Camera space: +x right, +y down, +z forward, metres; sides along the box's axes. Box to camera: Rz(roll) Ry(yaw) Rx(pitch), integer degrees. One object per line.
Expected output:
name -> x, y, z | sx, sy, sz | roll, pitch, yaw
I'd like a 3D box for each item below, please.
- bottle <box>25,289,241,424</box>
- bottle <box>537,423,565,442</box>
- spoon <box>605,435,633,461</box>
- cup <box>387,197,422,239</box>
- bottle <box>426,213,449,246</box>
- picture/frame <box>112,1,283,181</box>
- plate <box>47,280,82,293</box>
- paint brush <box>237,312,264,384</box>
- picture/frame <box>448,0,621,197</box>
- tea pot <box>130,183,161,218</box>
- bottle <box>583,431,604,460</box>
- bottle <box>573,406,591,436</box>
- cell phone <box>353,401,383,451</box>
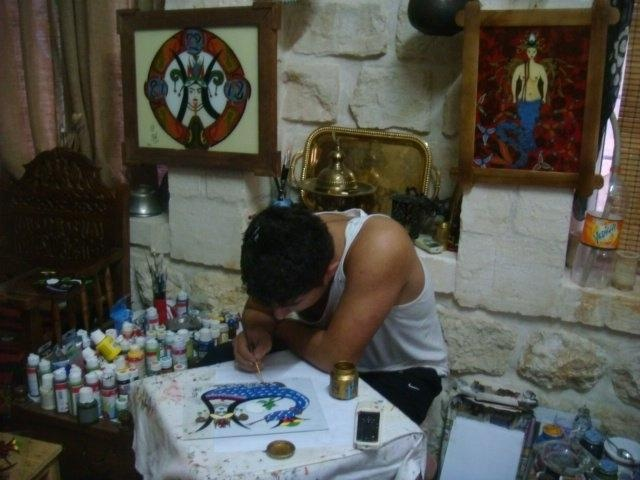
bottle -> -0.785, 0.475, 2.158 | 0.629, 0.208, 0.437 | -22, 29, -38
bottle -> 0.958, 0.796, 2.185 | 0.068, 0.086, 0.074 | -6, 5, 1
spoon -> 1.177, 0.823, 2.080 | 0.103, 0.042, 0.062 | 11, 11, 35
cup -> 0.359, -0.146, 2.272 | 0.136, 0.189, 0.143 | -2, 39, 1
bottle -> 0.513, -0.049, 2.307 | 0.066, 0.126, 0.073 | -36, 42, -27
picture/frame -> -0.526, -0.698, 2.390 | 0.729, 0.750, 0.058 | 4, 14, 21
plate -> -1.113, 0.191, 2.270 | 0.084, 0.032, 0.068 | 2, 8, 0
paint brush -> -0.234, 0.353, 1.765 | 0.052, 0.023, 0.316 | -13, 36, -13
picture/frame -> 0.809, -0.540, 1.974 | 0.631, 0.862, 0.105 | 3, 15, 17
tea pot -> -0.902, -0.196, 2.738 | 0.142, 0.092, 0.147 | 13, 21, -5
bottle -> 1.083, 0.801, 2.097 | 0.083, 0.097, 0.085 | -6, 15, 39
bottle -> 1.077, 0.737, 2.168 | 0.071, 0.099, 0.128 | 9, 11, 31
cell phone -> 0.128, 0.499, 1.395 | 0.071, 0.030, 0.125 | 1, 29, 6
